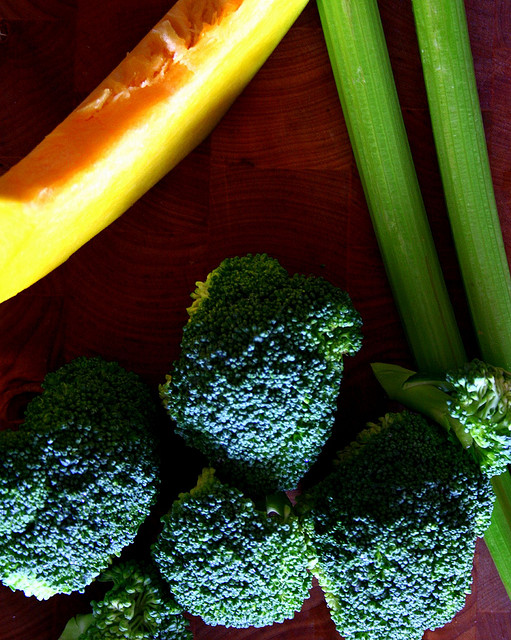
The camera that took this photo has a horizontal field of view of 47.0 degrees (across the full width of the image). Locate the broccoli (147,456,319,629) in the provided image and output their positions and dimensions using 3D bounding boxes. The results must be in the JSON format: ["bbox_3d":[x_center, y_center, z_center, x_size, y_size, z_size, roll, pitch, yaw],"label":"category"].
[{"bbox_3d":[-0.031,0.380,1.010,0.268,0.280,0.098,-25,8,8],"label":"broccoli"}]

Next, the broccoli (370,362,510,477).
[{"bbox_3d":[0.334,0.152,0.984,0.252,0.151,0.131,12,3,23],"label":"broccoli"}]
